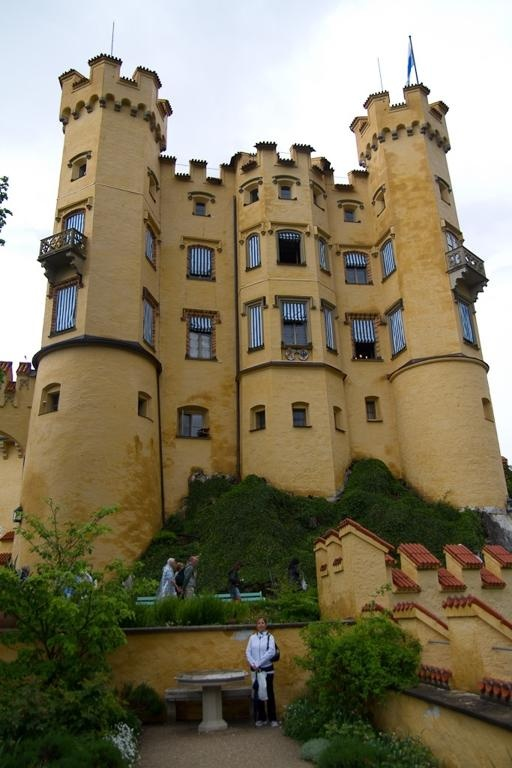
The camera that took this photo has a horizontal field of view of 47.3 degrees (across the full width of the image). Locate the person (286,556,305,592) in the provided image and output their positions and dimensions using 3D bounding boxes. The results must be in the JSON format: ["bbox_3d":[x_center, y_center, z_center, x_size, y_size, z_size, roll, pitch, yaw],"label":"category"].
[{"bbox_3d":[1.109,5.264,16.072,0.194,0.772,0.576,-6,-4,42],"label":"person"}]

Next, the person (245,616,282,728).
[{"bbox_3d":[0.111,4.152,8.477,0.433,1.390,0.956,-3,-21,-1],"label":"person"}]

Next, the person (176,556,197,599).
[{"bbox_3d":[-1.594,4.373,13.351,0.443,0.936,1.677,0,-21,-8],"label":"person"}]
